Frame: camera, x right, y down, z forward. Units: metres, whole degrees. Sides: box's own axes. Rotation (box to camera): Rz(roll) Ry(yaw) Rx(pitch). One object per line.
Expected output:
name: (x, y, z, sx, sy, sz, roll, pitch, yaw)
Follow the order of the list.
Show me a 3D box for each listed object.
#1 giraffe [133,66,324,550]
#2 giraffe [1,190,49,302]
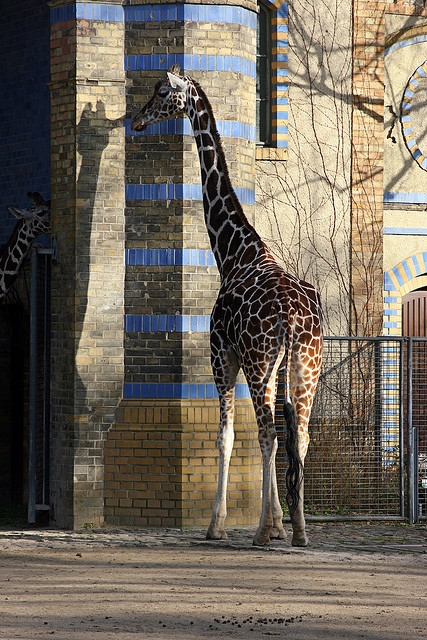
giraffe: (0.090, -0.079, 14.644, 1.559, 4.078, 2.511, 0, 8, -3)
giraffe: (-1.863, -0.697, 16.875, 0.500, 1.140, 2.520, 0, 10, -6)
